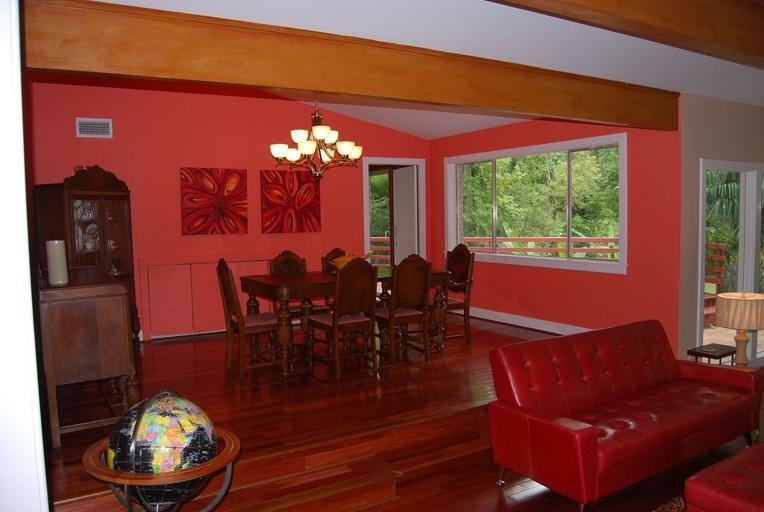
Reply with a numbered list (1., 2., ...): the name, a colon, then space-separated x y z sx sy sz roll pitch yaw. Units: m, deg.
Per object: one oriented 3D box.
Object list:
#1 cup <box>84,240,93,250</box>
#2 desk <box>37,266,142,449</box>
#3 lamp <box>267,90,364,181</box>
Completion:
1. cup: -3.485 -0.130 6.476 0.096 0.067 0.100 2 -4 0
2. desk: -2.336 0.818 4.286 0.514 1.022 1.404 -4 5 -29
3. lamp: -0.785 -1.469 6.612 1.111 1.177 1.174 2 5 38
